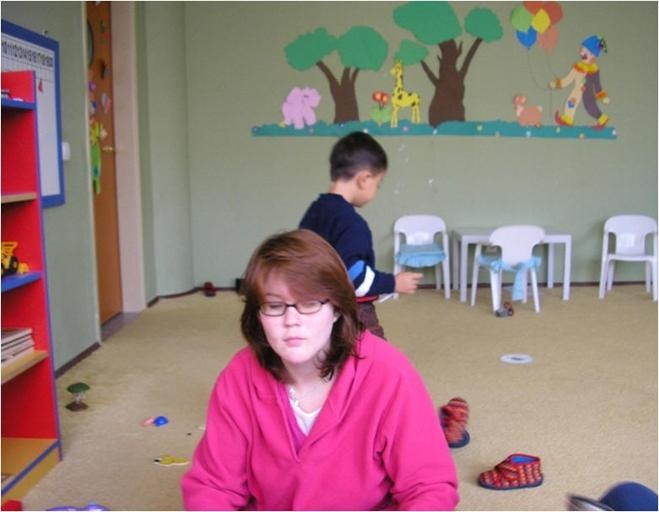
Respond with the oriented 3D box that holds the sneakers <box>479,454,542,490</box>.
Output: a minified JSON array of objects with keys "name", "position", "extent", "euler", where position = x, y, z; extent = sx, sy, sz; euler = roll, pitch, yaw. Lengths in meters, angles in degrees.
[{"name":"sneakers","position":[0.696,0.838,2.090],"extent":[0.236,0.120,0.114],"euler":[-1,7,-1]}]

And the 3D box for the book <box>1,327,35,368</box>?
[{"name":"book","position":[-1.192,0.339,2.015],"extent":[0.054,0.107,0.172],"euler":[2,12,11]}]

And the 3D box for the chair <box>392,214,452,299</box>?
[{"name":"chair","position":[0.768,0.009,4.595],"extent":[0.510,0.694,0.497],"euler":[-4,7,-9]}]

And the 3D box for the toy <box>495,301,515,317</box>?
[{"name":"toy","position":[1.347,0.416,4.130],"extent":[0.103,0.051,0.130],"euler":[-1,10,10]}]

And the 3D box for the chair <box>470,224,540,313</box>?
[{"name":"chair","position":[1.434,0.101,4.308],"extent":[0.512,0.706,0.542],"euler":[1,5,26]}]

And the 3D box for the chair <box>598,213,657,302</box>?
[{"name":"chair","position":[2.605,-0.005,4.654],"extent":[0.420,0.678,0.695],"euler":[6,13,27]}]

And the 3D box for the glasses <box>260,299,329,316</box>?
[{"name":"glasses","position":[-0.077,0.117,1.175],"extent":[0.144,0.034,0.018],"euler":[-1,12,-3]}]

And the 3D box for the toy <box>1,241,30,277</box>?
[{"name":"toy","position":[-1.161,0.007,2.017],"extent":[0.073,0.100,0.139],"euler":[-4,-4,-13]}]
